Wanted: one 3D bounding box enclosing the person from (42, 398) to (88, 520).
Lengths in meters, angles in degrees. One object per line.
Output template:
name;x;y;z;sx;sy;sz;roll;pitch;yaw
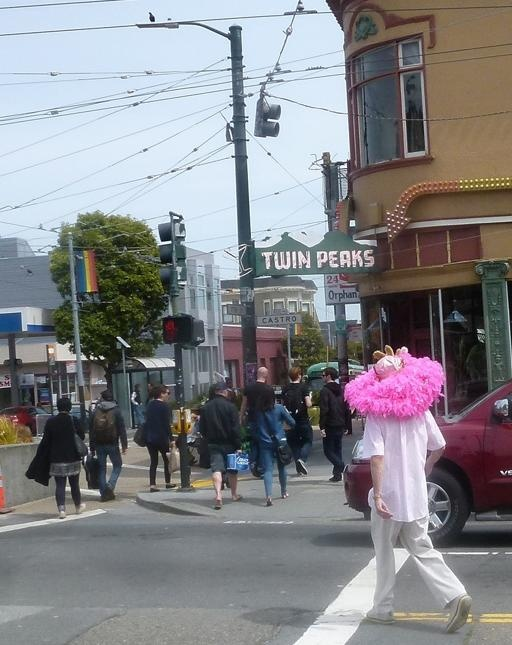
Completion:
person;-2.511;1.777;13.557;0.540;1.372;0.767;-5;-1;-10

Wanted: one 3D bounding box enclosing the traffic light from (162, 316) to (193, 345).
traffic light;-1.121;0.114;14.852;0.479;0.418;0.247;0;1;15

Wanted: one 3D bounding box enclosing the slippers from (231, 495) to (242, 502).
slippers;-0.250;2.344;13.757;0.048;0.099;0.141;3;10;31

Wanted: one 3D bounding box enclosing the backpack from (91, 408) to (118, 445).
backpack;-2.242;1.531;15.146;0.442;0.477;0.318;-5;-1;6

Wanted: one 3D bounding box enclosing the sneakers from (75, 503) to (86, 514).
sneakers;-2.331;2.458;13.705;0.062;0.068;0.171;2;17;12

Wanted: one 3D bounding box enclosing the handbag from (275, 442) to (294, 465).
handbag;0.339;1.663;13.085;0.193;0.289;0.336;-5;-1;0

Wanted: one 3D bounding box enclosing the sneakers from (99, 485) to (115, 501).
sneakers;-2.185;2.505;15.140;0.195;0.210;0.185;-5;-1;-13

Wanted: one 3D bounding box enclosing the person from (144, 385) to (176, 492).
person;-1.487;1.762;15.680;0.418;1.417;1.616;-5;-1;-5

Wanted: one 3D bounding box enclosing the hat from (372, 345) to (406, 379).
hat;0.880;0.289;7.117;0.210;0.208;0.252;-10;20;29

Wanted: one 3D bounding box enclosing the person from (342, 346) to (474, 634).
person;0.973;1.069;6.734;0.669;1.767;0.763;-5;-1;4

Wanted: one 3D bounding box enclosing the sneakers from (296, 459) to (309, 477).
sneakers;0.707;2.296;16.283;0.136;0.345;0.136;-9;39;23

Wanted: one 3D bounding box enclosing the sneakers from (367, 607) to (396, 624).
sneakers;0.808;1.903;6.759;0.080;0.117;0.186;-3;10;-35

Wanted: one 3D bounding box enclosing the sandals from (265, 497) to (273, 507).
sandals;0.165;2.273;13.099;0.063;0.105;0.170;4;10;16

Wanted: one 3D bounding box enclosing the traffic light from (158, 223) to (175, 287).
traffic light;-1.304;-0.954;15.004;0.234;0.897;0.730;-5;-1;-5

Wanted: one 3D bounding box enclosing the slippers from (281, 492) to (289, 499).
slippers;0.378;2.298;13.721;0.066;0.068;0.102;0;-6;3

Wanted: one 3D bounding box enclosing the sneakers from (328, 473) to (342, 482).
sneakers;1.186;2.311;15.346;0.208;0.171;0.086;2;1;18

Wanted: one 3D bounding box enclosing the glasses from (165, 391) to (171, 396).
glasses;-1.313;1.040;15.298;0.102;0.089;0.119;-1;-10;-5

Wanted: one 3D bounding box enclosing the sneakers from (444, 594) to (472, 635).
sneakers;1.270;1.801;6.449;0.123;0.292;0.141;1;23;-27

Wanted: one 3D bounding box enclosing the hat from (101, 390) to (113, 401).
hat;-2.247;1.085;15.508;0.164;0.189;0.194;-1;37;-10
